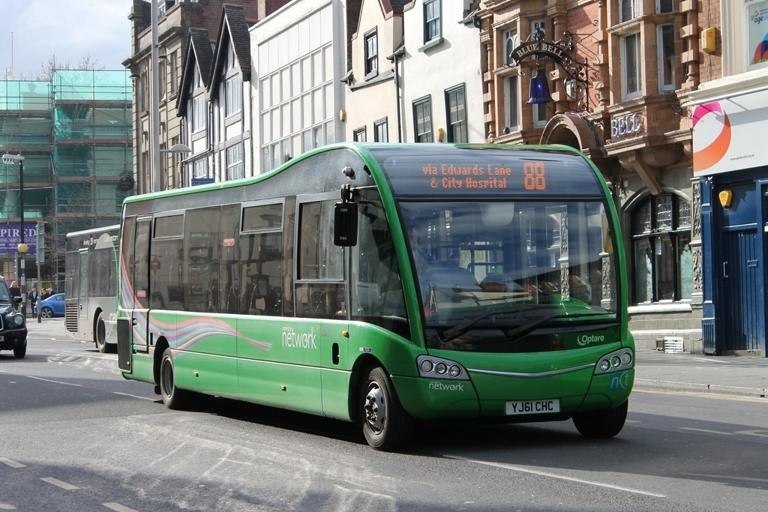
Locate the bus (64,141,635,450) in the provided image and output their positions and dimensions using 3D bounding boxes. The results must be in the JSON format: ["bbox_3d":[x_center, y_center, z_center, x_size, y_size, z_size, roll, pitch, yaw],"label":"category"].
[{"bbox_3d":[-1.450,0.648,14.325,10.947,3.253,3.351,-4,2,44],"label":"bus"}]

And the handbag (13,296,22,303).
[{"bbox_3d":[-11.787,1.418,27.820,0.216,0.221,0.234,0,-4,9],"label":"handbag"}]

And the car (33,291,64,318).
[{"bbox_3d":[-25.233,3.751,66.134,3.063,1.550,1.815,0,-2,25],"label":"car"}]
